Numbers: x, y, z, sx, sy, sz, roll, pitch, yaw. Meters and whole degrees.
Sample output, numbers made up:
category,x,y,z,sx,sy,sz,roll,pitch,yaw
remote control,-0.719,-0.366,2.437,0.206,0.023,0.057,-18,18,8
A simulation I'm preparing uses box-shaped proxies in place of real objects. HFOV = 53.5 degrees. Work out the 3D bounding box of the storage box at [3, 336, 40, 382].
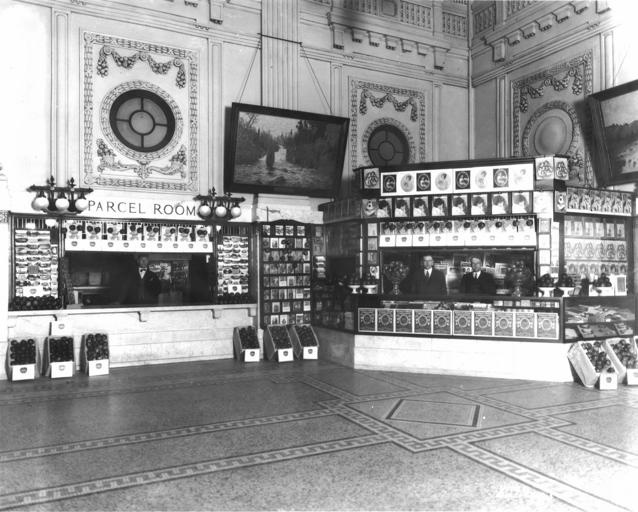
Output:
category,x,y,z,sx,sy,sz,roll,pitch,yaw
storage box,-4.763,1.642,10.180,0.453,0.601,0.385,-3,6,-27

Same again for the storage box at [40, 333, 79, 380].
category,x,y,z,sx,sy,sz,roll,pitch,yaw
storage box,-4.278,1.642,10.390,0.490,0.623,0.503,-2,6,-20

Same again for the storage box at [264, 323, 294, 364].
category,x,y,z,sx,sy,sz,roll,pitch,yaw
storage box,-0.775,1.645,11.909,0.319,0.720,0.661,-11,26,-29

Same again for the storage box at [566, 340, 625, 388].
category,x,y,z,sx,sy,sz,roll,pitch,yaw
storage box,4.223,1.652,9.758,0.482,0.297,0.718,-5,33,6

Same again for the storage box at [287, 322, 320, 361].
category,x,y,z,sx,sy,sz,roll,pitch,yaw
storage box,-0.282,1.623,12.033,0.399,0.466,0.626,0,14,-22

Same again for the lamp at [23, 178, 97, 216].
category,x,y,z,sx,sy,sz,roll,pitch,yaw
lamp,-4.492,-1.018,11.010,1.076,0.660,0.436,-3,6,-29

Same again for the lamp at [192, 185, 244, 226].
category,x,y,z,sx,sy,sz,roll,pitch,yaw
lamp,-1.885,-0.928,12.211,0.859,0.665,0.381,2,-11,-13

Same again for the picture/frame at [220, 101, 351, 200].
category,x,y,z,sx,sy,sz,roll,pitch,yaw
picture/frame,-0.756,-2.030,12.512,1.774,1.253,0.189,0,7,-26

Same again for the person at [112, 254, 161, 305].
category,x,y,z,sx,sy,sz,roll,pitch,yaw
person,-3.443,0.457,11.800,0.669,1.523,0.491,4,-8,-24

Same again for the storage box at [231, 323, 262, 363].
category,x,y,z,sx,sy,sz,roll,pitch,yaw
storage box,-1.340,1.677,11.982,0.329,0.417,0.575,-6,41,-21
